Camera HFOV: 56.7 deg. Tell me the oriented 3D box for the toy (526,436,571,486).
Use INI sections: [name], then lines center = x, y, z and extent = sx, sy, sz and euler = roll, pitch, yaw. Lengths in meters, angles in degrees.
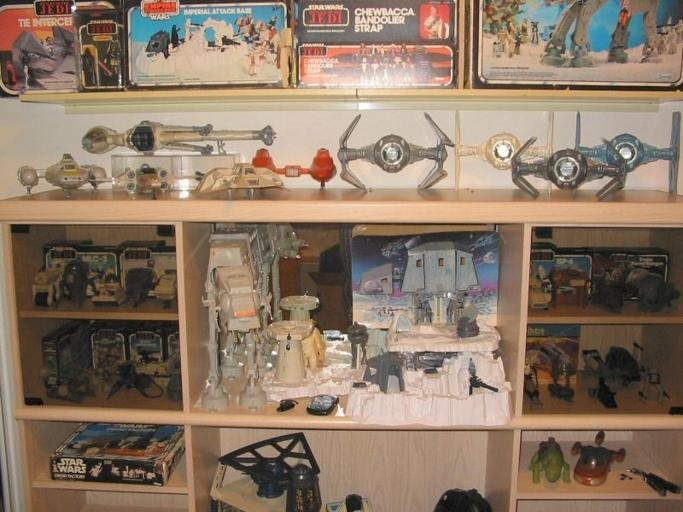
[toy]
center = 0.724, 0.715, 2.211
extent = 0.100, 0.058, 0.158
euler = -1, 10, 8
